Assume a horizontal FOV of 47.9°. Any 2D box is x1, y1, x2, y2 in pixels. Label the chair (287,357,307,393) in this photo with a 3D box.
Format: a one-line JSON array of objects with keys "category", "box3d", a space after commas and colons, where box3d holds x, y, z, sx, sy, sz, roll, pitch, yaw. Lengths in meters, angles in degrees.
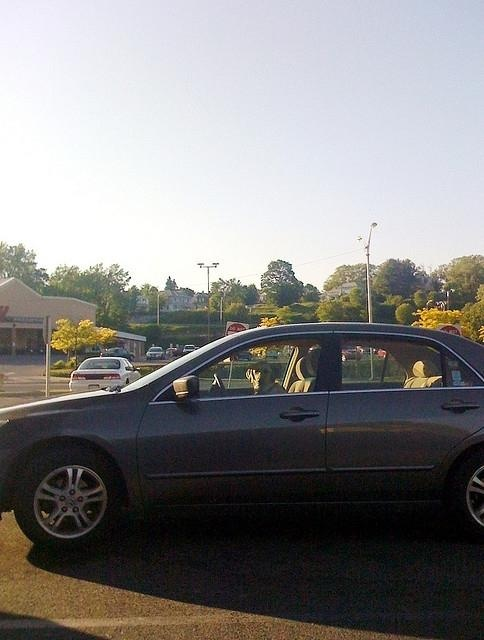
[{"category": "chair", "box3d": [0.465, 0.422, 4.091, 0.224, 0.278, 0.166, 1, -2, 9]}]
